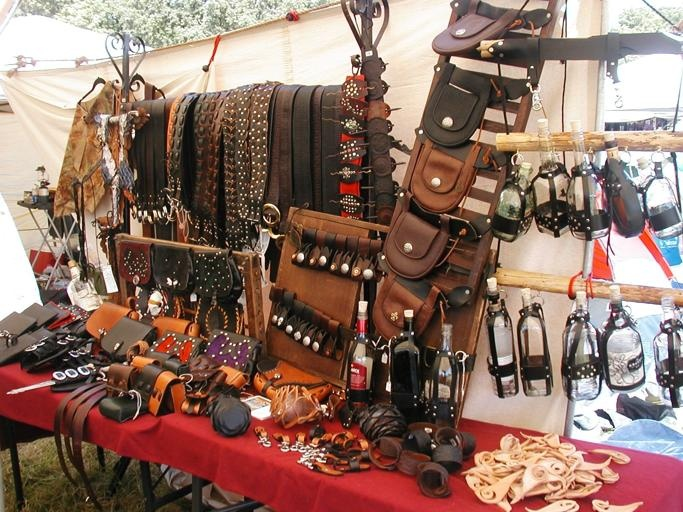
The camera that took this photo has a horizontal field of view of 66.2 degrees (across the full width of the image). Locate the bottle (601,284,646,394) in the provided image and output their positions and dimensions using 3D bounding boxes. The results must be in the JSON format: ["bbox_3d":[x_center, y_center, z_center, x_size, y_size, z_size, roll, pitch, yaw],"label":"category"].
[{"bbox_3d":[1.126,0.342,2.106,0.171,0.425,0.170,1,12,0],"label":"bottle"}]

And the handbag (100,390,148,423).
[{"bbox_3d":[-1.071,0.733,2.574,0.243,0.079,0.254,19,4,-28],"label":"handbag"}]

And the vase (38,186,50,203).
[{"bbox_3d":[-3.576,-0.724,6.304,0.142,0.182,0.212,-6,15,-30],"label":"vase"}]

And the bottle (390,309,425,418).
[{"bbox_3d":[0.297,0.532,2.399,0.155,0.552,0.178,-2,-14,21],"label":"bottle"}]

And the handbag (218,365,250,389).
[{"bbox_3d":[-0.533,0.603,2.627,0.111,0.041,0.118,23,18,9],"label":"handbag"}]

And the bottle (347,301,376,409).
[{"bbox_3d":[0.089,0.469,2.473,0.123,0.530,0.126,0,23,0],"label":"bottle"}]

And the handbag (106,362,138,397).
[{"bbox_3d":[-1.108,0.606,2.619,0.139,0.176,0.143,1,0,20],"label":"handbag"}]

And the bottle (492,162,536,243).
[{"bbox_3d":[0.728,-0.226,2.207,0.143,0.324,0.115,-6,14,-28],"label":"bottle"}]

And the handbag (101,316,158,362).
[{"bbox_3d":[-1.225,0.484,3.086,0.242,0.261,0.083,24,-16,38],"label":"handbag"}]

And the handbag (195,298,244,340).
[{"bbox_3d":[-0.701,0.346,2.981,0.224,0.244,0.070,5,-2,21],"label":"handbag"}]

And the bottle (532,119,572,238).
[{"bbox_3d":[0.872,-0.309,2.195,0.175,0.465,0.183,-13,22,5],"label":"bottle"}]

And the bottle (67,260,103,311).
[{"bbox_3d":[-2.070,0.236,4.233,0.193,0.434,0.167,-32,-1,-4],"label":"bottle"}]

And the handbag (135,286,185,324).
[{"bbox_3d":[-1.065,0.265,3.194,0.244,0.082,0.272,27,-40,-17],"label":"handbag"}]

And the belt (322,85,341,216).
[{"bbox_3d":[-0.055,-0.577,2.889,0.155,0.676,0.083,12,16,41],"label":"belt"}]

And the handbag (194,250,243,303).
[{"bbox_3d":[-0.704,0.107,2.940,0.293,0.300,0.126,-3,9,34],"label":"handbag"}]

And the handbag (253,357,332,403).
[{"bbox_3d":[-0.249,0.664,2.738,0.356,0.129,0.291,22,-25,-23],"label":"handbag"}]

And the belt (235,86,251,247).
[{"bbox_3d":[-0.577,-0.522,3.065,0.092,0.900,0.143,-1,-1,-5],"label":"belt"}]

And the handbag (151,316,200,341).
[{"bbox_3d":[-0.957,0.391,3.014,0.181,0.066,0.138,5,22,33],"label":"handbag"}]

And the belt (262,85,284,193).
[{"bbox_3d":[-0.409,-0.631,3.006,0.070,0.666,0.090,0,5,-2],"label":"belt"}]
